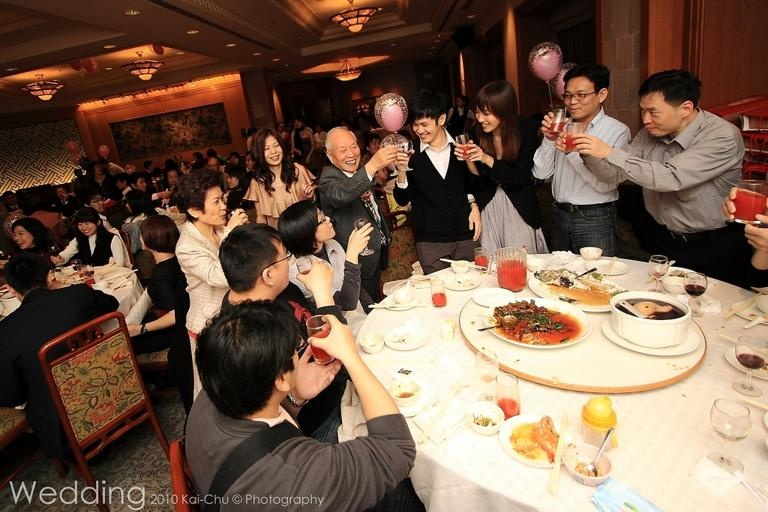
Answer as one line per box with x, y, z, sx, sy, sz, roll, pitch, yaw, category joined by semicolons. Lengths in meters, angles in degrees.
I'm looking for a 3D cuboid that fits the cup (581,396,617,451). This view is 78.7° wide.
0.879;0.681;1.922;0.121;0.176;0.106;-11;20;-6;cup

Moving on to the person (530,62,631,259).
1.353;-0.540;3.445;0.524;1.811;0.785;-26;26;-37;person

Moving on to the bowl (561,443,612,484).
0.799;0.836;1.848;0.188;0.087;0.184;-6;17;2;bowl

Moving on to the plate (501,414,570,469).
0.609;0.765;1.961;0.244;0.136;0.185;-4;20;13;plate
